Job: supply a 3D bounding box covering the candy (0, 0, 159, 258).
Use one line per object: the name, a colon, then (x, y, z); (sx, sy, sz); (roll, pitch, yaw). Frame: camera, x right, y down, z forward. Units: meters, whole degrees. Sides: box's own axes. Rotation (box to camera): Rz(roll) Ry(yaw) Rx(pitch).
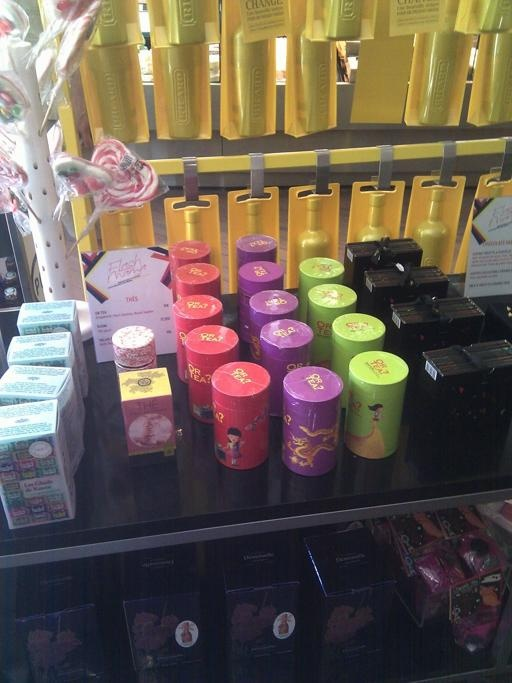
candy: (-0.370, -0.393, 1.028); (0.300, 0.451, 0.323); (-17, 30, -27)
